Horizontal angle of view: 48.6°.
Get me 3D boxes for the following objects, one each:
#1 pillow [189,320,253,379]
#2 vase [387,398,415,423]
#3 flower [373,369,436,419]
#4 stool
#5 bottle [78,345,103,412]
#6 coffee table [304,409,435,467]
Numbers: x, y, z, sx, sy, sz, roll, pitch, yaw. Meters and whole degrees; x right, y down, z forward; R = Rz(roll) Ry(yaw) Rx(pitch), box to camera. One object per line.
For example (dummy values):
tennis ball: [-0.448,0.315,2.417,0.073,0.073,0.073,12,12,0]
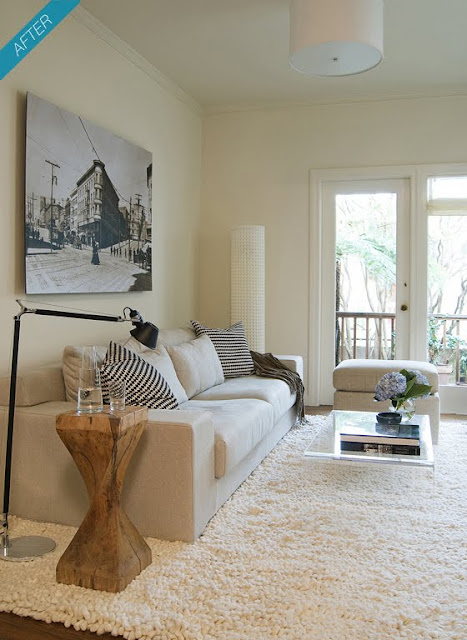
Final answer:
pillow: [-0.107,0.243,3.782,0.123,0.422,0.415,-20,-7,33]
vase: [0.904,0.482,2.794,0.130,0.131,0.134,0,-8,0]
flower: [0.917,0.406,2.729,0.242,0.223,0.239,-5,-10,2]
stool: [1.021,0.531,3.623,0.547,0.478,0.584,-1,-5,13]
bottle: [-0.465,0.190,1.682,0.072,0.153,0.108,0,0,-15]
coffee table: [0.801,0.589,2.559,0.623,0.131,0.604,-11,-9,41]
